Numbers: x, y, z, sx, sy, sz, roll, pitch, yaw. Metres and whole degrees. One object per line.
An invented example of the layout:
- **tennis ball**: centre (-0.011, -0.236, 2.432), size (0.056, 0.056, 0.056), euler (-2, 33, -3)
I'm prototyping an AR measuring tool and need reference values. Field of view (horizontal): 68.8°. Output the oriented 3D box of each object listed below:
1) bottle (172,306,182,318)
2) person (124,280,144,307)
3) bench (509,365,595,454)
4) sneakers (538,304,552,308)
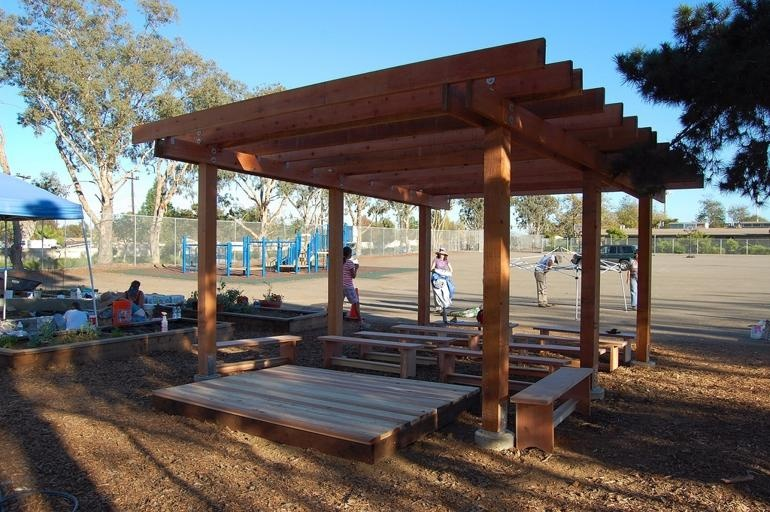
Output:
- **bottle**: centre (-4.604, 1.223, 12.411), size (0.193, 0.345, 0.196), euler (1, 2, 0)
- **person**: centre (-5.272, 0.776, 11.812), size (0.312, 0.565, 1.301), euler (-4, 11, -26)
- **bench**: centre (2.263, 1.777, 7.203), size (0.494, 0.684, 2.164), euler (8, 12, 35)
- **sneakers**: centre (4.723, 1.425, 16.557), size (0.407, 0.182, 0.134), euler (-6, -1, 19)
